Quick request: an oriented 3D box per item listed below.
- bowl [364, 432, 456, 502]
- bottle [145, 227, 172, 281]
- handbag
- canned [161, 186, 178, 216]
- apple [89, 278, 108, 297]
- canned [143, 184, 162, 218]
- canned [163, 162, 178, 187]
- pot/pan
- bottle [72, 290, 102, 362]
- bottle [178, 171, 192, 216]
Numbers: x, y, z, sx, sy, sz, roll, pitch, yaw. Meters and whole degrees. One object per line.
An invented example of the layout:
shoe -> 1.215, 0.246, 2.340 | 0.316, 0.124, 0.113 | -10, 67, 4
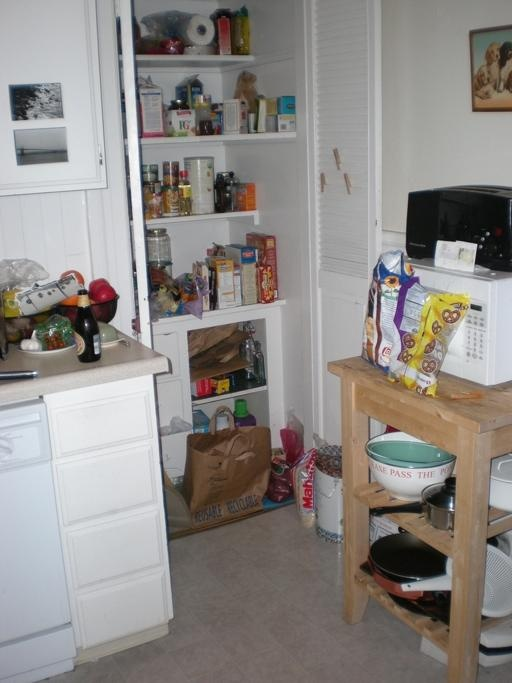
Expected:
bowl -> 0.417, 0.329, 1.526 | 0.201, 0.126, 0.200 | -1, 11, 0
bottle -> -0.498, -0.422, 2.711 | 0.146, 0.247, 0.165 | 6, 13, 35
handbag -> -0.126, 0.581, 2.444 | 0.428, 0.507, 0.249 | -6, 16, -28
canned -> -0.401, -0.648, 2.554 | 0.079, 0.131, 0.051 | -6, 10, -9
apple -> -0.514, -0.182, 1.801 | 0.056, 0.040, 0.074 | -21, 32, -7
canned -> -0.471, -0.640, 2.514 | 0.075, 0.156, 0.081 | -5, 10, -7
canned -> -0.401, -0.785, 2.583 | 0.076, 0.126, 0.124 | -5, 10, -7
pot/pan -> 0.400, 0.548, 1.572 | 0.202, 0.051, 0.341 | -15, 10, -6
bottle -> -0.496, -0.050, 1.605 | 0.073, 0.203, 0.140 | -7, 10, -16
bottle -> -0.339, -0.702, 2.603 | 0.059, 0.209, 0.068 | -4, 10, 1
